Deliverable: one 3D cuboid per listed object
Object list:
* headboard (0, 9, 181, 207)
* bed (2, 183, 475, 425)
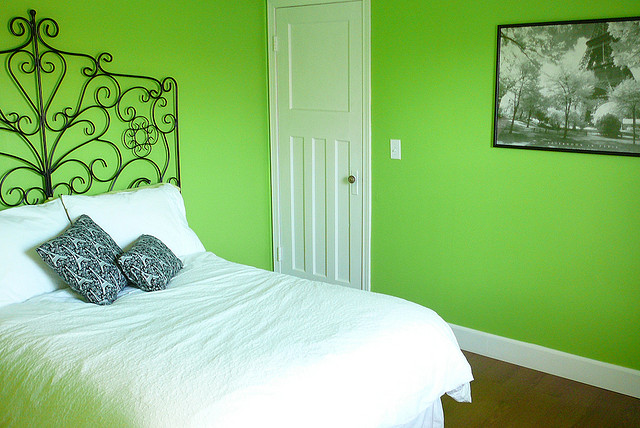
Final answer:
[{"bbox_3d":[-1.697,-0.773,3.282,0.082,1.205,1.440,7,12,35],"label":"headboard"},{"bbox_3d":[-0.652,0.516,2.581,2.716,0.923,1.408,4,18,13],"label":"bed"}]
